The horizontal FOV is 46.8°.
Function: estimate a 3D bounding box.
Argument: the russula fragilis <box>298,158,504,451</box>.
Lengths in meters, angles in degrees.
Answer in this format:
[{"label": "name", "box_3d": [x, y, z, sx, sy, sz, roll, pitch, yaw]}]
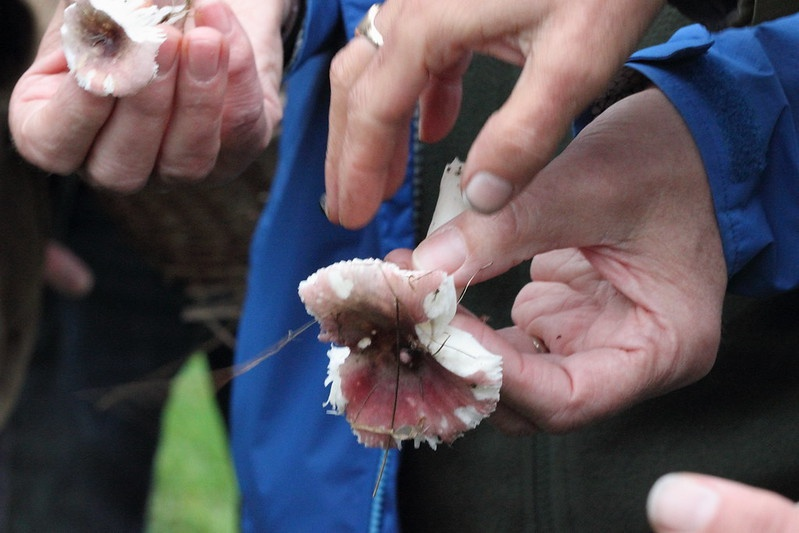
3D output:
[{"label": "russula fragilis", "box_3d": [0.012, 0.059, 1.503, 0.309, 0.154, 0.481, 5, 103, 0]}]

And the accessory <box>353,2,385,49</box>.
[{"label": "accessory", "box_3d": [-0.046, -0.418, 1.662, 0.042, 0.082, 0.057, 26, 32, 26]}]

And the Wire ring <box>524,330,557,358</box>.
[{"label": "Wire ring", "box_3d": [0.255, 0.143, 1.694, 0.025, 0.026, 0.062, -32, 66, -19]}]
